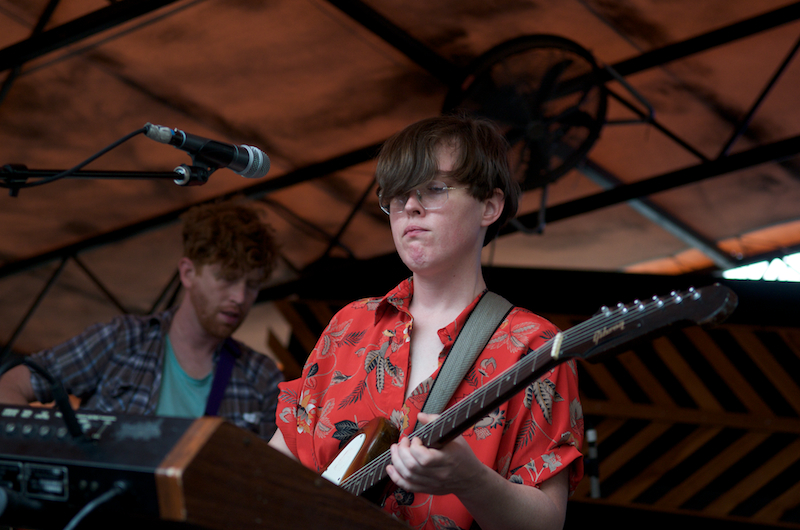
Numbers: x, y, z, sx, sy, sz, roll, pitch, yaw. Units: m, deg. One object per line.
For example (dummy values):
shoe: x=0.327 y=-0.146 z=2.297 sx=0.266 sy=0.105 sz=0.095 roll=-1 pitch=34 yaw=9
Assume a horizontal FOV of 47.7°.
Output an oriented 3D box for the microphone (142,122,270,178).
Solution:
microphone: x=-0.825 y=-0.484 z=3.923 sx=0.616 sy=0.187 sz=0.167 roll=12 pitch=10 yaw=-40

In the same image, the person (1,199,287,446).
person: x=-1.647 y=0.296 z=5.550 sx=1.128 sy=1.421 sz=0.868 roll=27 pitch=-7 yaw=-8

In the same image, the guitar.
guitar: x=0.737 y=0.646 z=4.587 sx=3.011 sy=0.373 sz=0.398 roll=-31 pitch=-37 yaw=35
